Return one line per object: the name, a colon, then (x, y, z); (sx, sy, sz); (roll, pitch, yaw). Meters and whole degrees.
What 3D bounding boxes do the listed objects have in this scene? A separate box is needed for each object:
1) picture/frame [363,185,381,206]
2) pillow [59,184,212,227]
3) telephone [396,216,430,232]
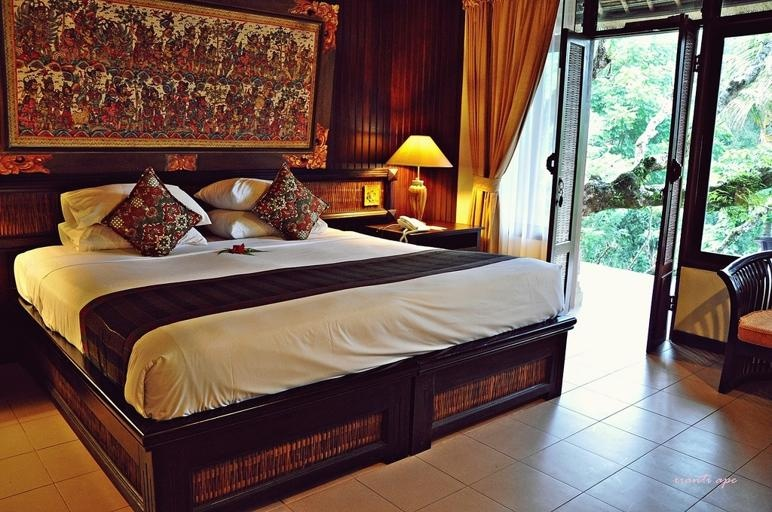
picture/frame: (-0.145, -0.649, 5.419); (0.226, 0.222, 0.064); (-8, 6, -43)
pillow: (-1.997, -0.430, 3.885); (0.638, 0.195, 0.543); (-9, 23, -36)
telephone: (0.269, -0.319, 5.094); (0.201, 0.079, 0.205); (5, 10, 33)
